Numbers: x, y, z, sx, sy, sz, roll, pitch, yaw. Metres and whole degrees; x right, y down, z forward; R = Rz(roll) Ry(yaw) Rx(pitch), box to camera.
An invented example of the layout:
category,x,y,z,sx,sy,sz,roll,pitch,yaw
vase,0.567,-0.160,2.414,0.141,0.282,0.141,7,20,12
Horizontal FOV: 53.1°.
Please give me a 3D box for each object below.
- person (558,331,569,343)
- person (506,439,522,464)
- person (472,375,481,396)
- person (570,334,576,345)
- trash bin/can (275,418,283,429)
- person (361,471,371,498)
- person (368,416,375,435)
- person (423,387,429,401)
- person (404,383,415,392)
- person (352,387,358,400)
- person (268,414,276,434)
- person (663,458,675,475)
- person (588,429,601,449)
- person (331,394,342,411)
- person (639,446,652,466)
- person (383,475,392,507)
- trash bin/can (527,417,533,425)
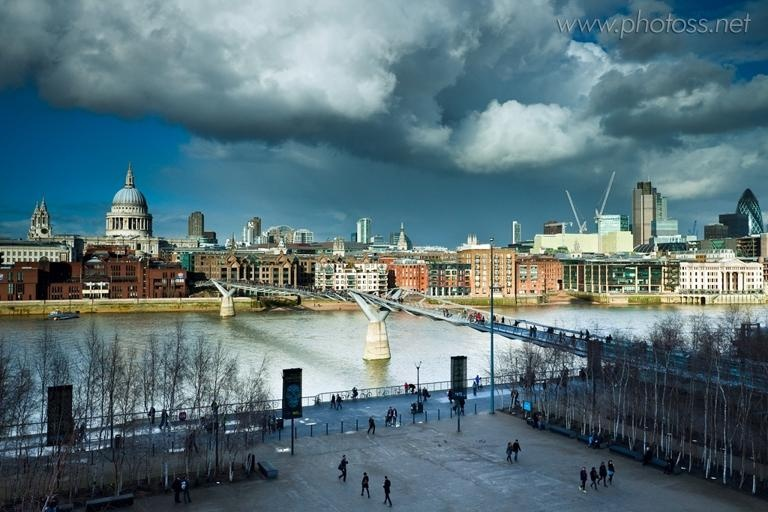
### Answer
category,x,y,z,sx,sy,sz,roll,pitch,yaw
person,15.203,6.836,65.575,0.790,0.562,1.925,-23,-28,22
person,8.395,12.595,50.378,0.846,1.304,1.501,1,1,8
person,7.845,10.952,65.114,0.891,1.336,0.707,2,1,-2
person,15.588,6.868,63.744,0.418,0.341,1.327,-17,-43,2
trash bin/can,-7.458,11.897,54.975,0.504,0.936,1.508,0,1,-5
person,-1.093,13.574,46.360,0.540,1.452,1.430,0,1,-2
person,-0.894,11.923,55.031,0.594,1.111,1.682,0,1,-1
person,3.416,11.158,62.440,0.306,0.884,0.479,-5,9,-32
person,2.132,11.321,66.391,0.861,0.426,1.112,0,-2,2
person,-2.418,11.330,63.699,0.636,0.690,1.172,-1,-6,0
person,-8.033,11.855,55.162,0.477,1.216,1.639,0,1,-8
person,18.064,13.289,48.858,0.565,0.760,0.917,1,2,25
person,14.288,12.376,52.332,0.895,0.942,1.361,1,2,14
person,-3.779,11.490,60.592,0.957,1.224,0.618,-2,-13,25
person,17.019,12.935,49.984,0.688,0.890,1.139,1,2,18
person,0.181,13.765,45.586,0.495,1.580,1.328,0,1,-3
trash bin/can,10.658,11.978,56.128,0.400,0.353,0.505,-6,11,-31
